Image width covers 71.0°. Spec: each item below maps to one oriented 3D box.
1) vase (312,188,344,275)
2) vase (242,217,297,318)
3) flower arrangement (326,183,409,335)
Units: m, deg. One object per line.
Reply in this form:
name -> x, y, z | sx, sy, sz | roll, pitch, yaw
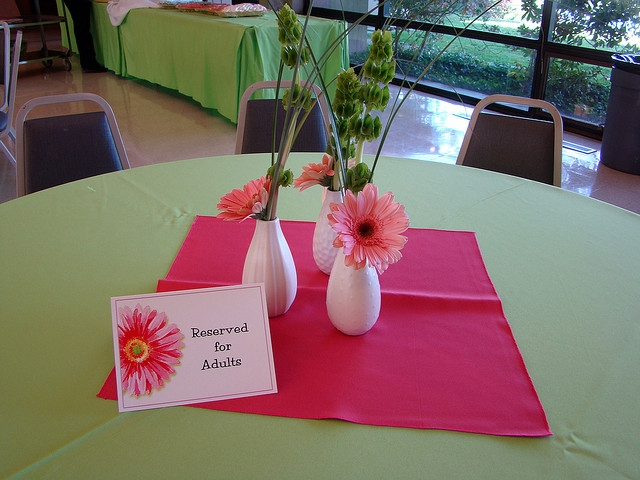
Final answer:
vase -> 0.018, -0.006, 0.897 | 0.074, 0.240, 0.086 | 0, 35, -3
vase -> -0.075, 0.045, 0.908 | 0.128, 0.243, 0.148 | 1, 26, 1
flower arrangement -> 0.078, 0.054, 0.785 | 0.118, 0.283, 0.136 | 26, 34, 33
